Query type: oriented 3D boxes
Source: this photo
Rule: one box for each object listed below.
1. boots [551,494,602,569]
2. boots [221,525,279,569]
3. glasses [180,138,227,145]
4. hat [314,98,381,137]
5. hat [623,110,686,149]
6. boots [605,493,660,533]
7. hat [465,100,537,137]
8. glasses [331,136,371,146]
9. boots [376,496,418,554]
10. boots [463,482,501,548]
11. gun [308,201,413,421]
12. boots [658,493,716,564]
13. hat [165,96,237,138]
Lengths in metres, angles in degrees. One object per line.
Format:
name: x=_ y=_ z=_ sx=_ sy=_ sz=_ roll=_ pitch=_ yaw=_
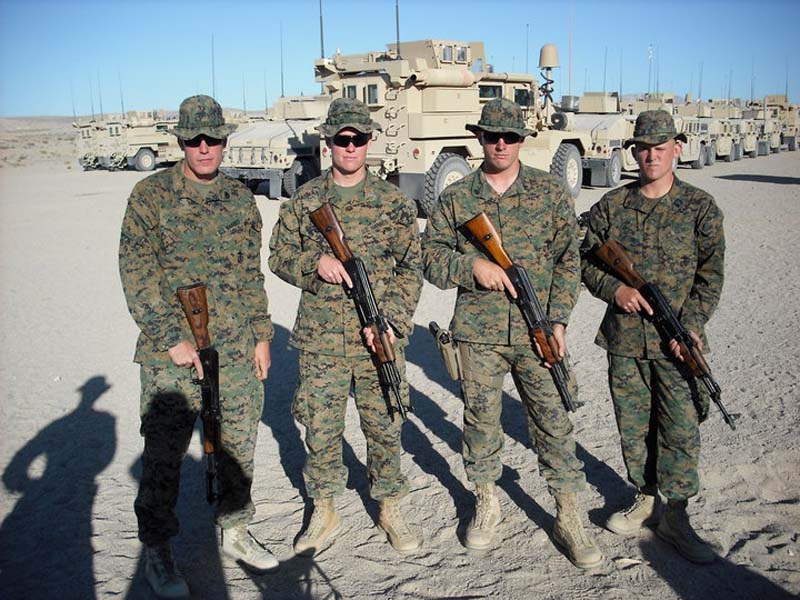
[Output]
boots: x=1.035 y=1.341 z=4.184 sx=0.172 sy=0.310 sz=0.447 roll=-10 pitch=17 yaw=-18
boots: x=-0.890 y=1.435 z=4.185 sx=0.450 sy=0.199 sz=0.153 roll=7 pitch=-1 yaw=35
glasses: x=-1.077 y=-0.876 z=3.962 sx=0.257 sy=0.047 sz=0.146 roll=-9 pitch=16 yaw=-30
hat: x=-0.303 y=-1.084 z=4.189 sx=0.386 sy=0.204 sz=0.418 roll=4 pitch=25 yaw=17
hat: x=1.561 y=-1.042 z=4.315 sx=0.330 sy=0.201 sz=0.361 roll=4 pitch=14 yaw=18
boots: x=1.463 y=1.315 z=4.459 sx=0.429 sy=0.186 sz=0.172 roll=-6 pitch=16 yaw=-29
hat: x=0.594 y=-1.072 z=4.199 sx=0.430 sy=0.200 sz=0.444 roll=-11 pitch=18 yaw=-37
glasses: x=-0.279 y=-0.915 z=4.119 sx=0.249 sy=0.084 sz=0.138 roll=-5 pitch=14 yaw=-16
boots: x=-0.023 y=1.344 z=4.347 sx=0.145 sy=0.225 sz=0.356 roll=-10 pitch=20 yaw=-28
boots: x=0.503 y=1.283 z=4.351 sx=0.168 sy=0.308 sz=0.450 roll=-5 pitch=14 yaw=27
gun: x=-0.254 y=0.055 z=4.178 sx=0.323 sy=1.265 sz=0.168 roll=-12 pitch=7 yaw=20
boots: x=1.671 y=1.340 z=4.269 sx=0.172 sy=0.278 sz=0.441 roll=-18 pitch=12 yaw=-20
hat: x=-1.107 y=-1.040 z=3.997 sx=0.371 sy=0.208 sz=0.418 roll=-3 pitch=28 yaw=-9
